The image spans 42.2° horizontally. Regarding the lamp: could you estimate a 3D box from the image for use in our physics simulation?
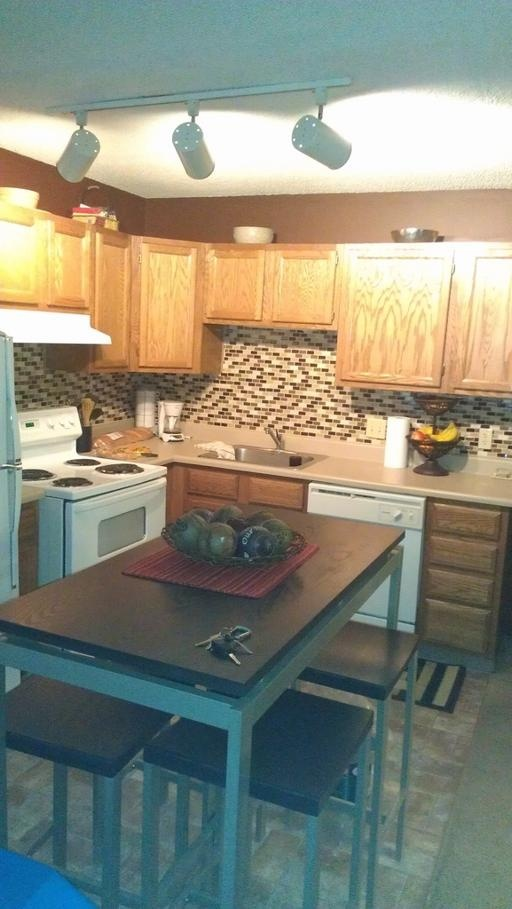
[{"bbox_3d":[-0.219,-1.096,2.226,1.075,0.319,0.379,5,7,20],"label":"lamp"}]

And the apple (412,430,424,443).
[{"bbox_3d":[0.852,-0.097,3.505,0.059,0.053,0.093,3,6,1],"label":"apple"}]

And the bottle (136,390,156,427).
[{"bbox_3d":[-0.741,-0.305,4.476,0.125,0.259,0.111,0,7,-15],"label":"bottle"}]

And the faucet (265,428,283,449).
[{"bbox_3d":[0.096,-0.108,4.093,0.059,0.123,0.187,-1,-8,23],"label":"faucet"}]

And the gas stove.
[{"bbox_3d":[-0.815,0.099,3.277,0.606,0.045,0.558,6,9,23],"label":"gas stove"}]

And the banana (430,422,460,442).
[{"bbox_3d":[0.984,-0.110,3.457,0.149,0.099,0.088,-1,7,-29],"label":"banana"}]

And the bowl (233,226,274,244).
[{"bbox_3d":[-0.016,-1.257,3.830,0.141,0.071,0.149,0,15,0],"label":"bowl"}]

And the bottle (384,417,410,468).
[{"bbox_3d":[0.782,-0.062,3.682,0.129,0.285,0.115,4,7,12],"label":"bottle"}]

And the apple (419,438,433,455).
[{"bbox_3d":[0.894,-0.044,3.472,0.065,0.054,0.066,14,24,42],"label":"apple"}]

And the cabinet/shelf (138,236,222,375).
[{"bbox_3d":[-0.451,-0.852,3.920,0.299,0.729,0.426,8,14,36],"label":"cabinet/shelf"}]

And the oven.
[{"bbox_3d":[-0.765,0.309,3.244,0.355,0.439,0.686,9,12,27],"label":"oven"}]

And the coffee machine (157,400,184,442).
[{"bbox_3d":[-0.554,-0.214,4.339,0.161,0.262,0.226,1,7,-10],"label":"coffee machine"}]
